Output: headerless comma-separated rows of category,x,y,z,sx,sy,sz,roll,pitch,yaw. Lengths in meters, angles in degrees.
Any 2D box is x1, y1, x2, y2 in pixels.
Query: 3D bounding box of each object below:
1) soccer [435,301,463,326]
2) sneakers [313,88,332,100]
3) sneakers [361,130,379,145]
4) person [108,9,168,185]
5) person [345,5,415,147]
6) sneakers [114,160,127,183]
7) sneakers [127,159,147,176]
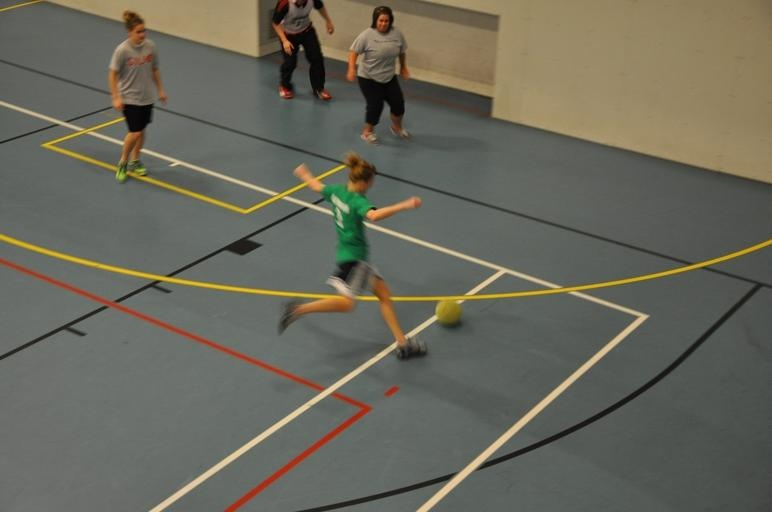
soccer,0.797,0.709,8.180,0.346,0.283,0.258,3,31,-1
sneakers,-1.339,-3.364,13.653,0.452,0.193,0.163,19,67,37
sneakers,-0.318,-2.192,12.126,0.322,0.128,0.174,28,57,30
person,-4.103,-2.542,10.417,1.046,2.509,0.624,-19,37,-32
person,-0.118,-3.284,11.860,1.157,2.275,0.911,0,31,-5
sneakers,-4.396,-1.362,10.647,0.148,0.393,0.169,-1,3,-20
sneakers,-4.200,-1.457,10.846,0.379,0.217,0.185,24,41,25
